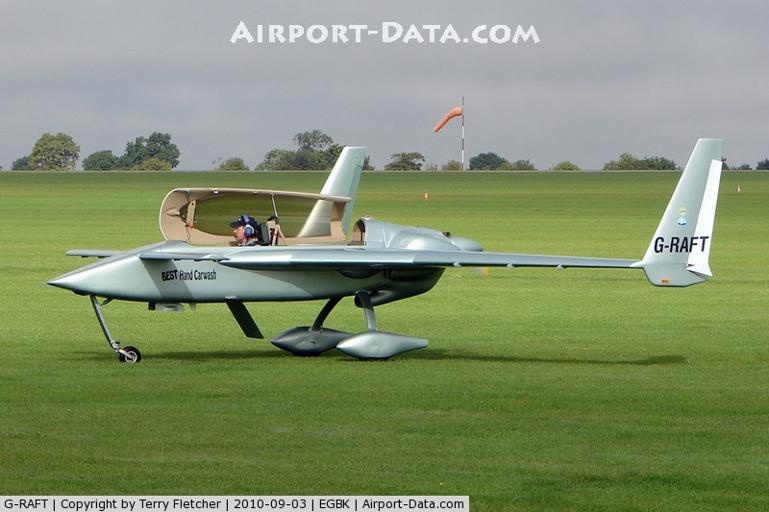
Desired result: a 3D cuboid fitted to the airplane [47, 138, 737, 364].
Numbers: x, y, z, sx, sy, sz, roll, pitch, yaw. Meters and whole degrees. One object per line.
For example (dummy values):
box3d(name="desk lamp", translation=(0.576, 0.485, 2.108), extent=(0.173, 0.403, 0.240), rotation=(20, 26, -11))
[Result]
box3d(name="airplane", translation=(0.165, -0.854, 31.134), extent=(11.568, 4.302, 13.596), rotation=(2, 8, 1))
